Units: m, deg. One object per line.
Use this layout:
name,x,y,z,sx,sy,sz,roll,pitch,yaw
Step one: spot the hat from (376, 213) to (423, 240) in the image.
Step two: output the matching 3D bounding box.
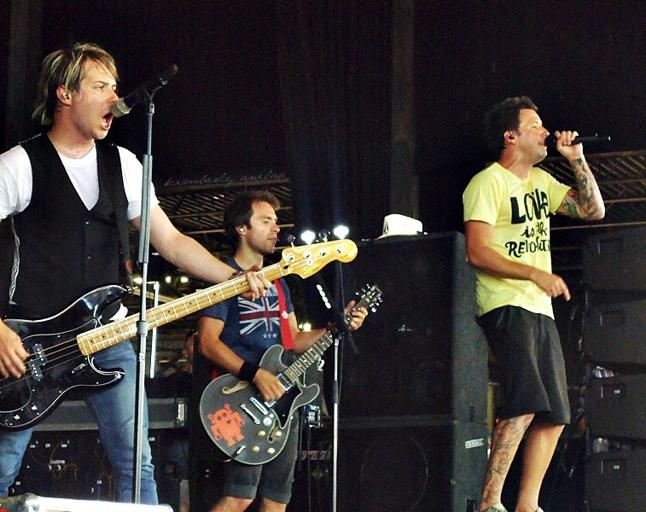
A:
hat,0.495,-0.169,4.424,0.208,0.104,0.145,4,-2,-39

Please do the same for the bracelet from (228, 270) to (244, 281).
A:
bracelet,-0.436,0.096,3.734,0.040,0.017,0.056,-6,29,25

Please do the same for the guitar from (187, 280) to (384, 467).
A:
guitar,-0.137,0.603,4.037,1.418,0.553,0.179,-45,7,-20

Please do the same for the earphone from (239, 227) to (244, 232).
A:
earphone,-0.474,-0.155,4.312,0.034,0.036,0.019,-2,6,6

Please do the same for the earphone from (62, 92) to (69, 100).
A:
earphone,-1.238,-0.762,3.540,0.020,0.039,0.023,4,29,36
